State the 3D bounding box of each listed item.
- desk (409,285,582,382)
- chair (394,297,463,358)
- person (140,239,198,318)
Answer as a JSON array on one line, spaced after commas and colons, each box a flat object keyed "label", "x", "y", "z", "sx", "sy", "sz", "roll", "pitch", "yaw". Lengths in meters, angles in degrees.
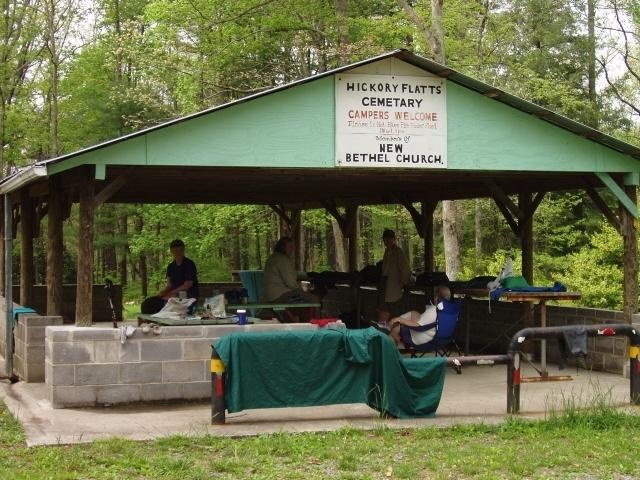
[{"label": "desk", "x": 3.814, "y": 1.751, "z": 18.085, "sx": 1.762, "sy": 1.590, "sz": 1.719, "roll": 0, "pitch": -1, "yaw": -20}, {"label": "chair", "x": 2.189, "y": 1.712, "z": 18.108, "sx": 1.198, "sy": 1.093, "sz": 0.920, "roll": -7, "pitch": -8, "yaw": 37}, {"label": "person", "x": -2.852, "y": 0.758, "z": 18.227, "sx": 0.922, "sy": 1.572, "sz": 1.911, "roll": -2, "pitch": 8, "yaw": -19}]
